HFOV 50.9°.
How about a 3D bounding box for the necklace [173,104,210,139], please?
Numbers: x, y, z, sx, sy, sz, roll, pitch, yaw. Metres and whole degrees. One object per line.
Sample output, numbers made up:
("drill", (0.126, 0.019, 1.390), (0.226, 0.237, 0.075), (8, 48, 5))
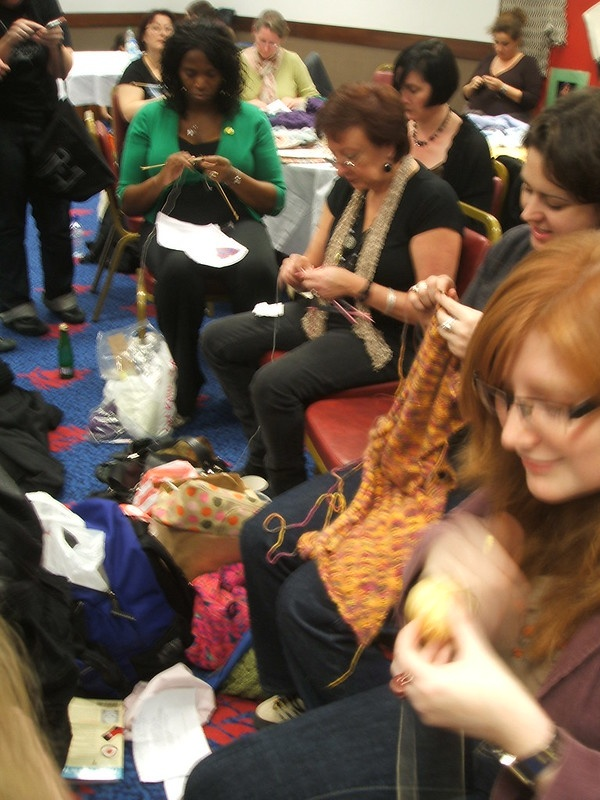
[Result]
("necklace", (-0.400, -1.016, 2.288), (0.099, 0.084, 0.022), (-2, 16, 7))

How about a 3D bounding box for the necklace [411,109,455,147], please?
("necklace", (0.564, -1.141, 2.700), (0.142, 0.170, 0.044), (27, -1, 28))

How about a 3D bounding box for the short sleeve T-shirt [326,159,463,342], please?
("short sleeve T-shirt", (0.252, -0.391, 1.694), (0.284, 0.447, 0.475), (-15, 34, -21))

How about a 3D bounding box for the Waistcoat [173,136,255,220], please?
("Waistcoat", (-0.340, -0.805, 2.306), (0.246, 0.286, 0.103), (-1, 26, -5))
